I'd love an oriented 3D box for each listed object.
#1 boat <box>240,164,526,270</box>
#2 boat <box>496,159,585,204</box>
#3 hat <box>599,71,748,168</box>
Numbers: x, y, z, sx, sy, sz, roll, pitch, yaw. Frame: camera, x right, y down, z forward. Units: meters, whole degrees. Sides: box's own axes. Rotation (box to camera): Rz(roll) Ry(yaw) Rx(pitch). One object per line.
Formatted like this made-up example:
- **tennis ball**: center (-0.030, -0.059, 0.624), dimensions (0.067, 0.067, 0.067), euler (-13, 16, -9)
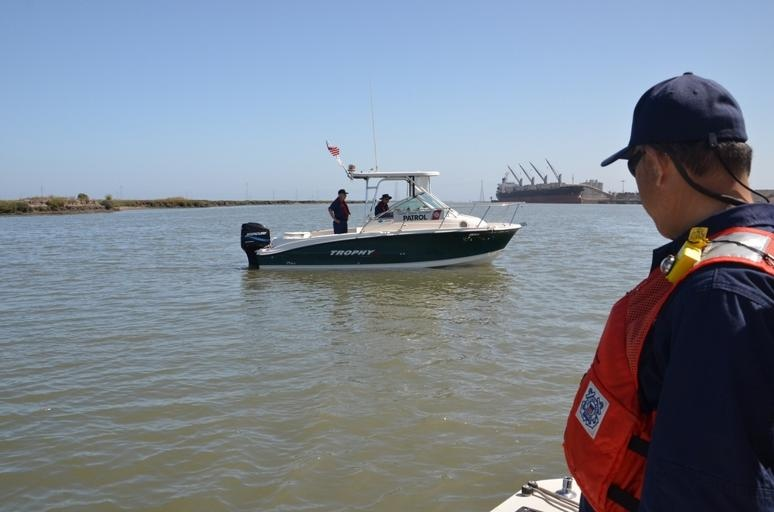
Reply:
- **boat**: center (0.035, -0.797, 17.875), dimensions (9.172, 2.109, 2.750), euler (-1, 6, 2)
- **boat**: center (24.120, -11.683, 103.647), dimensions (5.060, 5.761, 20.925), euler (-15, 10, -24)
- **hat**: center (1.218, -0.575, 2.587), dimensions (0.703, 0.266, 0.482), euler (0, 15, 43)
